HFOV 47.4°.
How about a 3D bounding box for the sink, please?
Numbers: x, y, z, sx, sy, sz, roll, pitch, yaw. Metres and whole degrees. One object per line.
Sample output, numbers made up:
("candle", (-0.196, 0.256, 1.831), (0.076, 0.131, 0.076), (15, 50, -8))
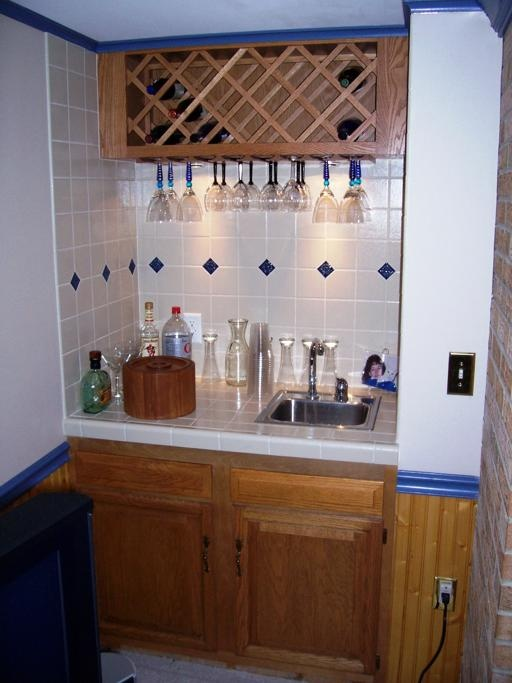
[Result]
("sink", (0.236, 0.293, 2.135), (0.412, 0.118, 0.418), (4, 12, 14))

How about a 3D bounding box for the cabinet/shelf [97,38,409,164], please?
("cabinet/shelf", (-0.012, -0.846, 2.089), (1.082, 0.380, 0.405), (4, 12, 16))

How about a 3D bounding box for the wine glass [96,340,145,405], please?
("wine glass", (-0.513, 0.124, 2.357), (0.173, 0.231, 0.187), (1, 3, 3))

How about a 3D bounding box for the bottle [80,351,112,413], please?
("bottle", (-0.586, 0.153, 2.115), (0.101, 0.290, 0.171), (1, 9, -4))

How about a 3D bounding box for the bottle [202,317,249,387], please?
("bottle", (-0.128, 0.040, 2.472), (0.243, 0.333, 0.124), (4, 8, 27))

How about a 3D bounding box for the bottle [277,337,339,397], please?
("bottle", (0.210, 0.098, 2.327), (0.146, 0.245, 0.215), (1, 3, 4))

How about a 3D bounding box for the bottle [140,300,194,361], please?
("bottle", (-0.368, -0.046, 2.456), (0.234, 0.351, 0.132), (0, 7, -4))

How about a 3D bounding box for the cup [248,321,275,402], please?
("cup", (0.018, 0.073, 2.290), (0.096, 0.277, 0.071), (0, 11, -2))

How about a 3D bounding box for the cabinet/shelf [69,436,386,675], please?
("cabinet/shelf", (-0.061, 0.675, 1.903), (0.762, 0.588, 0.279), (2, 7, 14))
